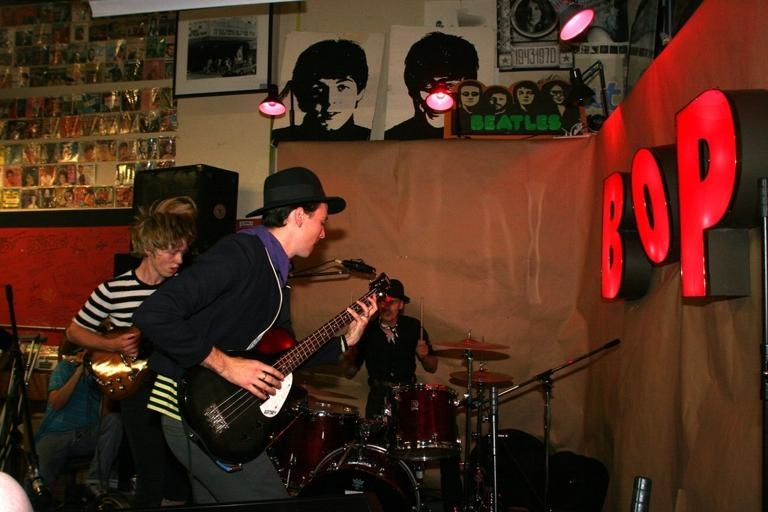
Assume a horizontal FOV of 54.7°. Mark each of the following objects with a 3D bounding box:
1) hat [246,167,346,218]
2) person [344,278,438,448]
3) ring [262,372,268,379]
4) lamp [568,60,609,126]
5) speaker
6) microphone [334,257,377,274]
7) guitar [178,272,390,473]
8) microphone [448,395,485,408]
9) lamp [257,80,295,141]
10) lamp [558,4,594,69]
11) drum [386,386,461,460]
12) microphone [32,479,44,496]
[{"bbox_3d":[-0.670,-0.475,5.706,0.733,0.335,0.585,-5,-8,-12],"label":"hat"},{"bbox_3d":[0.107,1.303,8.137,0.984,2.167,0.728,-5,21,-1],"label":"person"},{"bbox_3d":[-0.852,0.842,5.249,0.042,0.042,0.010,0,-9,-34],"label":"ring"},{"bbox_3d":[2.161,-1.766,7.791,0.375,0.738,0.813,0,0,17],"label":"lamp"},{"bbox_3d":[-2.103,-0.463,7.983,0.884,0.884,0.665,0,-2,23],"label":"speaker"},{"bbox_3d":[-0.270,0.092,7.122,0.284,0.095,0.122,10,-14,-35],"label":"microphone"},{"bbox_3d":[-0.745,0.965,5.945,1.871,0.822,1.060,-39,-14,-30],"label":"guitar"},{"bbox_3d":[0.753,1.349,6.817,0.251,0.062,0.182,5,-10,-37],"label":"microphone"},{"bbox_3d":[-1.110,-1.604,7.942,0.246,0.609,0.476,-8,-9,38],"label":"lamp"},{"bbox_3d":[1.994,-2.269,7.641,0.365,0.465,0.862,-17,18,2],"label":"lamp"},{"bbox_3d":[0.381,1.494,6.748,0.568,0.533,0.560,2,-7,-17],"label":"drum"},{"bbox_3d":[-2.689,1.790,5.764,0.092,0.128,0.105,0,0,-12],"label":"microphone"}]
